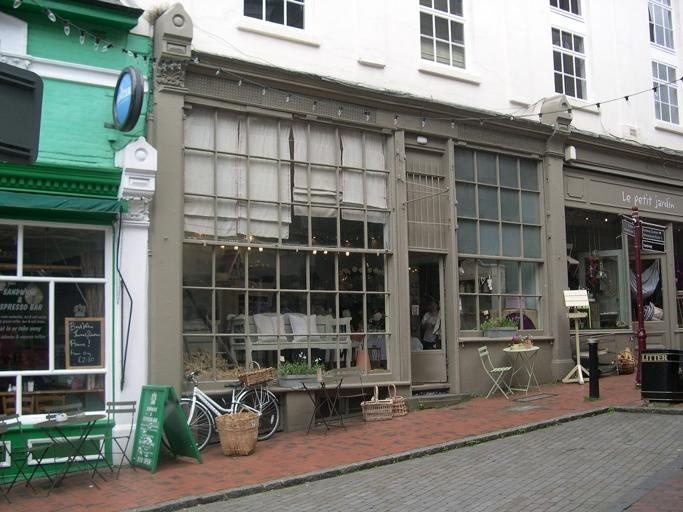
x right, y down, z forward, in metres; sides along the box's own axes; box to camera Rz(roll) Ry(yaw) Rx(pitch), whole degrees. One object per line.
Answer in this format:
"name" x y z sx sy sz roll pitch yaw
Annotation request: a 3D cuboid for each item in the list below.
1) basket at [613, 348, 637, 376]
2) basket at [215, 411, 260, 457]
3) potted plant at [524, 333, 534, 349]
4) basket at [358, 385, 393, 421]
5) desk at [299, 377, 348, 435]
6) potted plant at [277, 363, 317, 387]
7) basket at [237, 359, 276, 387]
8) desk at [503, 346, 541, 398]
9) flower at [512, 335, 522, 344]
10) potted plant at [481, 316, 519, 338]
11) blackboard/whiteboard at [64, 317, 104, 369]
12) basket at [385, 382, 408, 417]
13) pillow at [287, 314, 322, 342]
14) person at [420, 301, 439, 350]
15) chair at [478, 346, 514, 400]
"basket" 7.531 2.795 17.026 0.687 0.732 0.379 -2 -1 -31
"basket" -1.710 2.939 10.752 0.577 0.710 0.653 3 -5 -45
"potted plant" 4.375 2.013 15.018 0.203 0.304 1.166 -3 -1 16
"basket" 0.699 3.009 12.776 0.499 0.558 0.370 -1 -2 -6
"desk" -0.484 2.926 12.771 0.706 1.200 0.985 -8 -14 40
"potted plant" -0.826 2.222 12.047 0.466 0.323 0.504 3 -5 -29
"basket" -1.544 2.147 11.593 0.449 0.370 0.509 -1 -6 -2
"desk" 4.283 2.657 15.053 0.836 1.040 0.795 8 -3 -44
"flower" 4.087 1.941 14.965 0.191 0.184 0.194 0 -4 -1
"potted plant" 3.741 1.685 15.130 0.997 0.496 0.409 -2 -1 -41
"blackboard/whiteboard" -4.327 1.469 10.684 0.788 1.218 0.062 1 -7 -29
"basket" 1.117 2.930 13.108 0.543 0.726 0.494 -1 -9 -6
"pillow" -0.779 1.432 12.730 0.485 0.421 0.229 -3 -31 -40
"person" 2.116 1.620 15.189 0.382 1.095 0.783 -2 -1 -15
"chair" 3.510 2.600 14.655 0.717 1.174 1.350 -3 -1 15
